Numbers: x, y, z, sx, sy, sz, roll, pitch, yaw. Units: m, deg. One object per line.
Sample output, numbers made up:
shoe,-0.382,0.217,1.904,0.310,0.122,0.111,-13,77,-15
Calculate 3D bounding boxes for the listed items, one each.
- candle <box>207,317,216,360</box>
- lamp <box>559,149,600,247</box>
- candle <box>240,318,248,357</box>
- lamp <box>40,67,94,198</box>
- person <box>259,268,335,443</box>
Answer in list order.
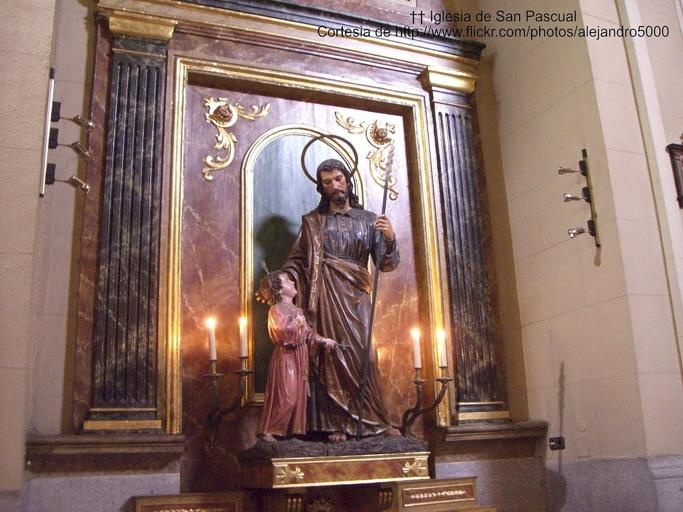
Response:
candle,-0.813,0.511,3.775,0.061,0.296,0.368,1,-11,-13
lamp,1.597,-0.382,4.122,0.173,0.814,0.080,-9,-40,24
candle,-0.593,0.496,3.647,0.040,0.237,0.124,1,-11,-15
lamp,-1.692,-0.726,3.726,0.298,1.003,0.111,9,-51,-17
person,-0.276,0.564,3.587,0.419,0.989,0.243,0,-10,-10
